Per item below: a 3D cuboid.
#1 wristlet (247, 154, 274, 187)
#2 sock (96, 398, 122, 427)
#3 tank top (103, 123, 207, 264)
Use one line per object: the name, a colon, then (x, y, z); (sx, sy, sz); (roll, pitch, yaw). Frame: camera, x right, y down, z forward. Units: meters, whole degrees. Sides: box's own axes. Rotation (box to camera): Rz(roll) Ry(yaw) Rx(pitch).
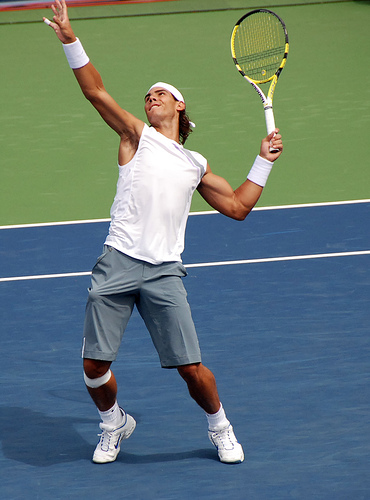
wristlet: (0.367, -0.389, 3.366); (0.102, 0.154, 0.146); (8, 21, 5)
sock: (-0.337, 0.772, 3.203); (0.083, 0.123, 0.129); (-24, -4, -3)
tank top: (-0.121, -0.245, 3.048); (0.373, 0.537, 0.371); (6, 22, 1)
